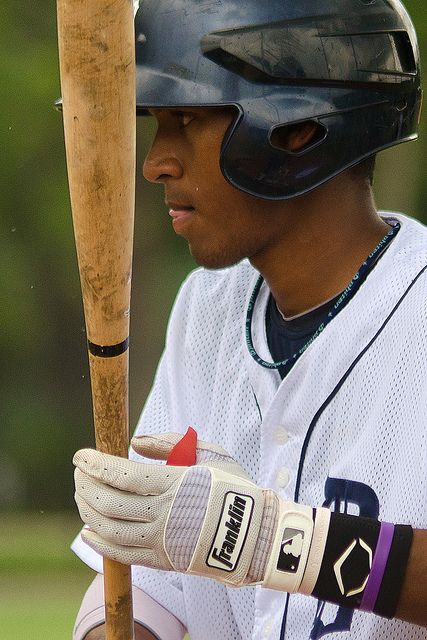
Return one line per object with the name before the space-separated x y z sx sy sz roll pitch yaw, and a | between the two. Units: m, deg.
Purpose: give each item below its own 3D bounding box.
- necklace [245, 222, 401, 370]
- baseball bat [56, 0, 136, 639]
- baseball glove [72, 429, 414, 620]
necklace | 0.238 -0.026 2.543 0.034 0.430 0.307 22 29 -17
baseball bat | -0.240 -0.158 2.086 0.156 0.939 0.198 2 13 -5
baseball glove | 0.041 0.473 2.189 0.752 0.222 0.395 18 23 16
